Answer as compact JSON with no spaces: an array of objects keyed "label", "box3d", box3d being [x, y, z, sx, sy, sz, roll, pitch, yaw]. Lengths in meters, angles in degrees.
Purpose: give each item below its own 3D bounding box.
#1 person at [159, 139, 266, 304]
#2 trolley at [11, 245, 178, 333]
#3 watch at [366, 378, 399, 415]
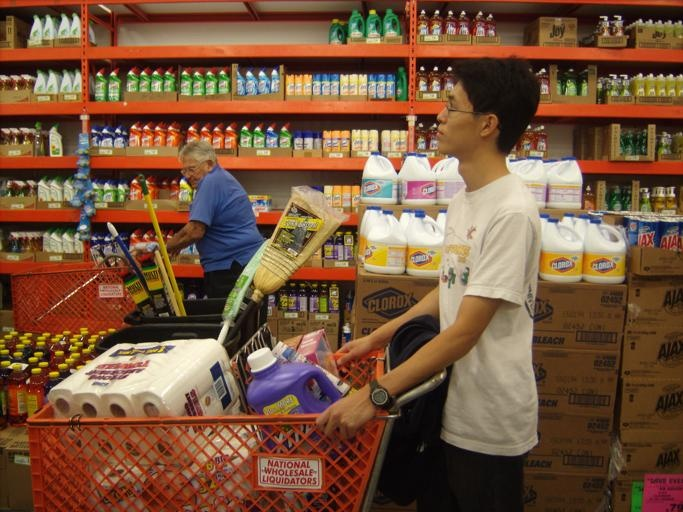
[{"label":"person","box3d":[-0.830,-0.235,4.219,0.564,1.033,0.539,-1,9,6]},{"label":"trolley","box3d":[-1.493,0.190,3.928,0.909,0.334,0.541,0,2,4]},{"label":"watch","box3d":[0.140,0.511,2.335,0.078,0.119,0.111,-45,0,-19]}]
